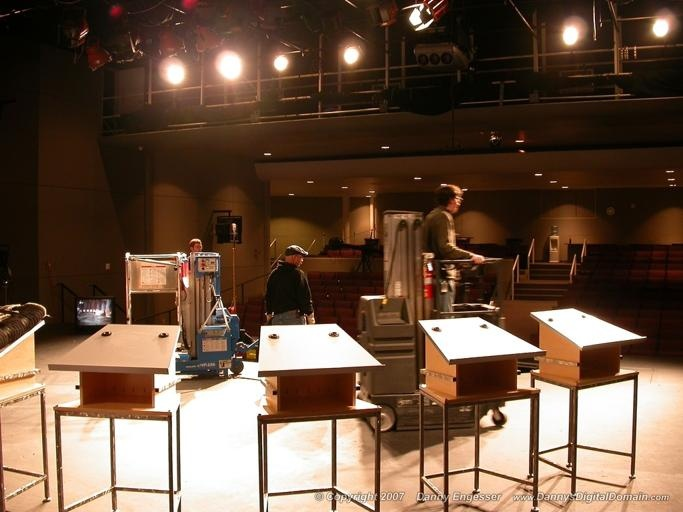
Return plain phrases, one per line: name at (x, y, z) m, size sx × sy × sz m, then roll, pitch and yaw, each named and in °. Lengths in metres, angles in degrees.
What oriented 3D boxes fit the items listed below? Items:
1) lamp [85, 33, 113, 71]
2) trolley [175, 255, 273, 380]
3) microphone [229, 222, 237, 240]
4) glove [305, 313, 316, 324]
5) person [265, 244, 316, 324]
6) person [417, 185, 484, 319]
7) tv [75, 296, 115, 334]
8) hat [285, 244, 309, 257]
lamp at (-4.148, -3.480, 10.411) m, size 0.394 × 0.558 × 0.165 m, roll -19°, pitch -20°, yaw -4°
trolley at (-1.885, 0.907, 9.658) m, size 1.483 × 1.942 × 1.318 m, roll 0°, pitch -1°, yaw -12°
microphone at (-2.485, -0.530, 14.234) m, size 0.145 × 0.461 × 0.312 m, roll -1°, pitch 8°, yaw -1°
glove at (-0.421, 0.799, 7.727) m, size 0.128 × 0.165 × 0.166 m, roll -1°, pitch 0°, yaw 7°
person at (-0.674, 0.401, 7.825) m, size 0.602 × 1.038 × 0.468 m, roll -2°, pitch 8°, yaw -6°
person at (1.221, -0.097, 6.975) m, size 0.512 × 1.397 × 0.773 m, roll -4°, pitch 9°, yaw -24°
tv at (-4.789, 1.153, 11.929) m, size 0.765 × 0.760 × 0.301 m, roll 0°, pitch -9°, yaw -11°
hat at (-0.571, -0.061, 7.833) m, size 0.298 × 0.145 × 0.225 m, roll 1°, pitch -1°, yaw -11°
